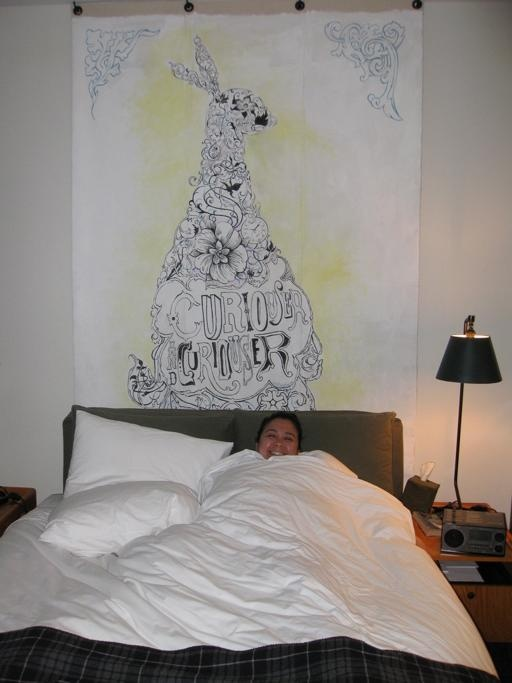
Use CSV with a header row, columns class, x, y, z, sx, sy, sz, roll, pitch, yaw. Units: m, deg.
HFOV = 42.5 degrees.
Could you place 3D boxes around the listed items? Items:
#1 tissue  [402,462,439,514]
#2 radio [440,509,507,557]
class,x,y,z,sx,sy,sz,roll,pitch,yaw
tissue ,0.688,0.618,2.762,0.123,0.212,0.116,15,-22,33
radio,0.803,0.713,2.430,0.223,0.115,0.170,0,5,8
